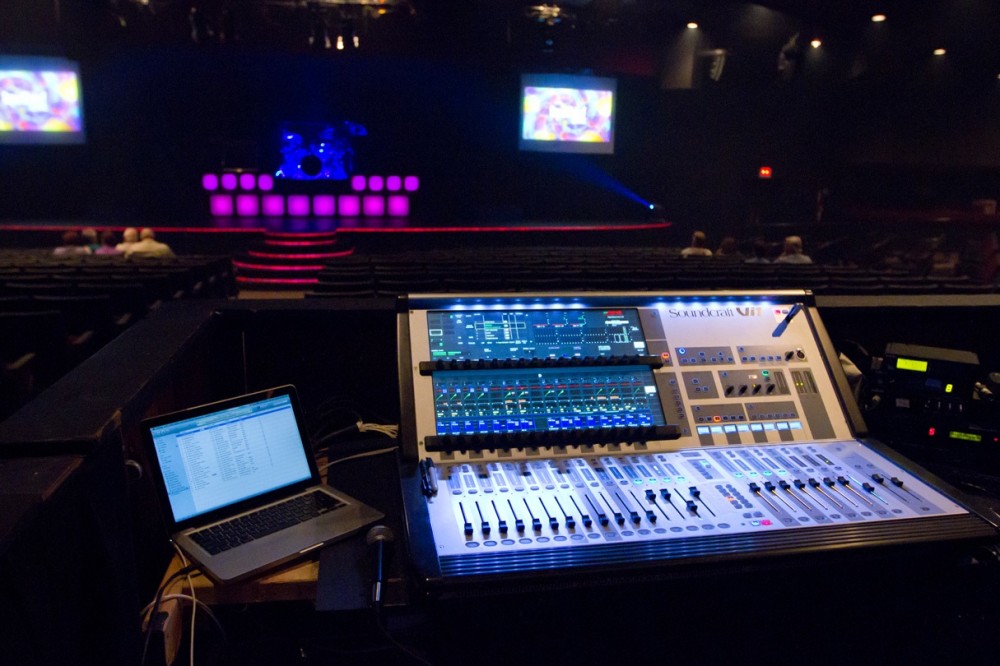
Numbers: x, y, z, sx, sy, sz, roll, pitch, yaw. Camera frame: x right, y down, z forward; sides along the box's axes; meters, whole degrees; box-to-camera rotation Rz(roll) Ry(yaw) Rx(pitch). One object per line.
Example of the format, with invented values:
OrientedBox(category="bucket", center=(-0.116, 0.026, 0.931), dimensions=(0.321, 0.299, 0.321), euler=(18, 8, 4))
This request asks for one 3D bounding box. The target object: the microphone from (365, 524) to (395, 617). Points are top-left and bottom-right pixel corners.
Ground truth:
OrientedBox(category="microphone", center=(-0.349, 0.676, 2.034), dimensions=(0.078, 0.178, 0.193), euler=(-5, 4, -7))

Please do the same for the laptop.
OrientedBox(category="laptop", center=(-0.764, 0.463, 2.178), dimensions=(0.603, 0.558, 0.407), euler=(-15, 5, -33))
